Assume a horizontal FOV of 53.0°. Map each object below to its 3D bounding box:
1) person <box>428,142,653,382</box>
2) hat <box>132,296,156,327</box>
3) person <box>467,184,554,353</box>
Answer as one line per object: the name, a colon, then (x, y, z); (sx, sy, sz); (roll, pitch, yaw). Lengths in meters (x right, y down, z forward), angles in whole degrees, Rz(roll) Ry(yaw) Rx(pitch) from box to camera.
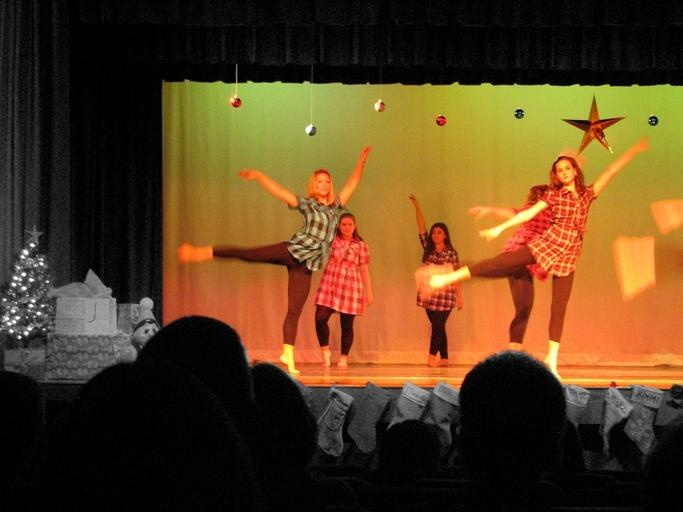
person: (1.453, -0.167, 4.979); (1.406, 2.258, 0.509); (18, -31, 3)
hat: (-1.305, 0.360, 4.406); (0.210, 0.237, 0.138); (2, -3, -25)
person: (1.421, 0.139, 5.643); (1.165, 1.481, 0.408); (13, -18, -32)
